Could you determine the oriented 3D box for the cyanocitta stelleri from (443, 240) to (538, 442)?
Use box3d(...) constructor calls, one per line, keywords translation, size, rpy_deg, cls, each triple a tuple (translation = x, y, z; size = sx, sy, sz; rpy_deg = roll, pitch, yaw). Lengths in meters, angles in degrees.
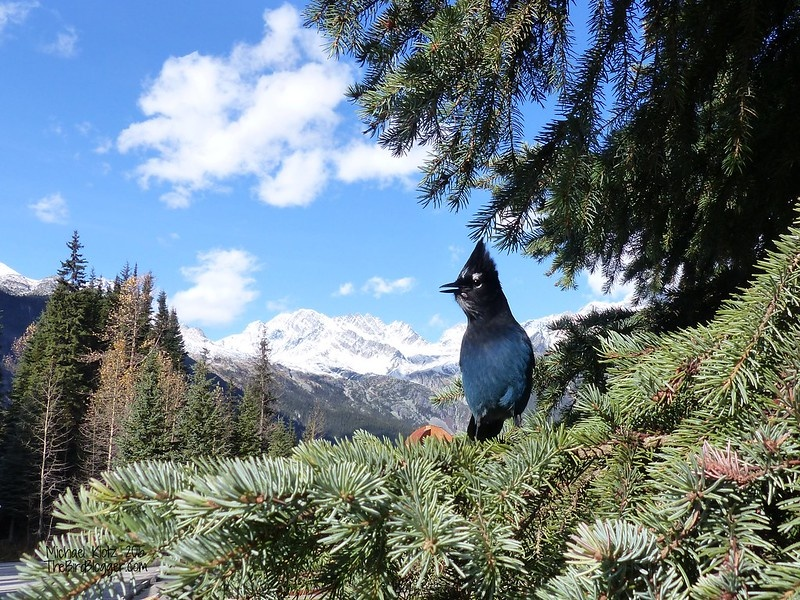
box3d(translation=(0.566, 0.232, 4.751), size=(0.497, 1.187, 0.411), rpy_deg=(-16, -18, 10), cls="cyanocitta stelleri")
